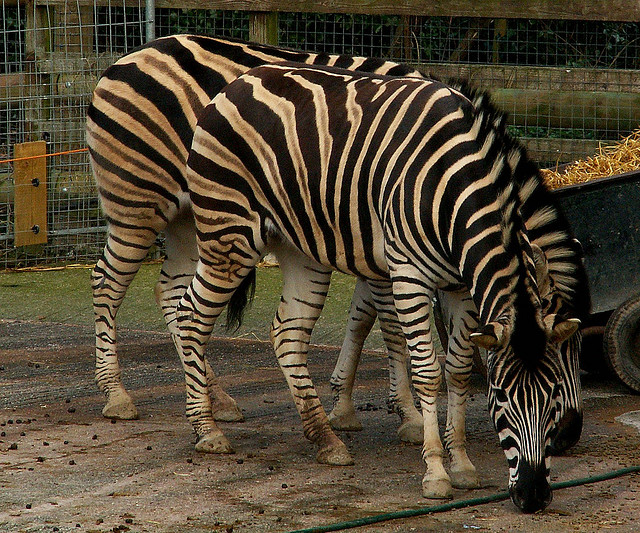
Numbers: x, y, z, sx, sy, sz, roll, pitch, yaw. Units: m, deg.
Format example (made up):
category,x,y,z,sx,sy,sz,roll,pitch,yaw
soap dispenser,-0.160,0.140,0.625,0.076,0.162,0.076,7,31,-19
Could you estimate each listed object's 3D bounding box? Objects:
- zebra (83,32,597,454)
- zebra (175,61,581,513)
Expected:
category,x,y,z,sx,sy,sz,roll,pitch,yaw
zebra,0.100,0.027,10.225,5.117,3.237,1.305,10,-22,-38
zebra,0.282,0.052,7.680,1.074,2.429,2.414,-14,15,-42
